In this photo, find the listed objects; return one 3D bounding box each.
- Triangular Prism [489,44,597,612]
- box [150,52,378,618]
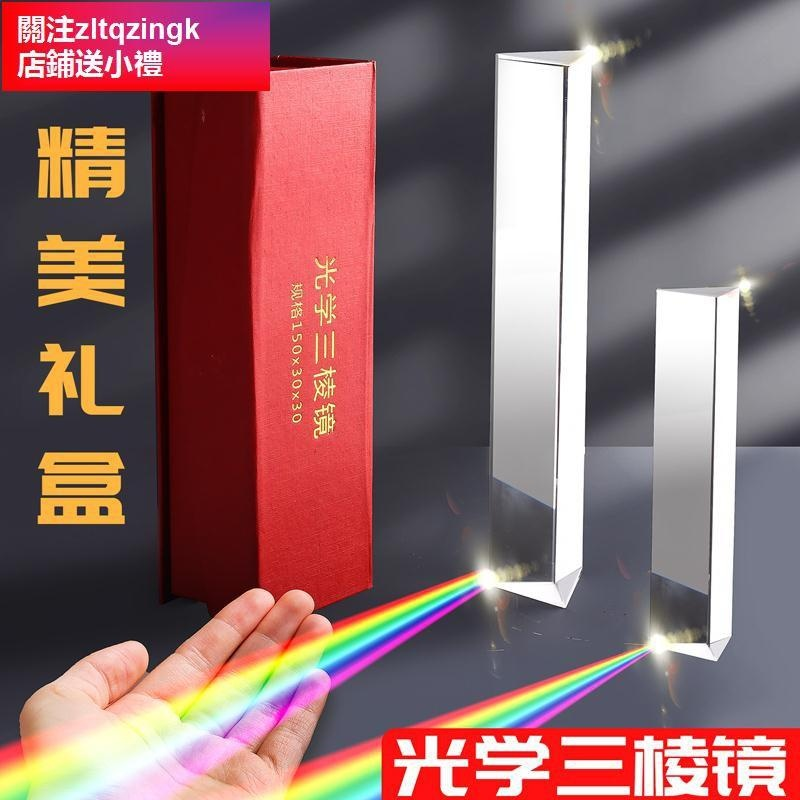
[{"bbox_3d":[0.158,-0.064,0.937,0.108,0.611,0.138,2,5,13],"label":"Triangular Prism"},{"bbox_3d":[-0.151,-0.065,0.945,0.259,0.645,0.188,-1,5,-16],"label":"box"}]
